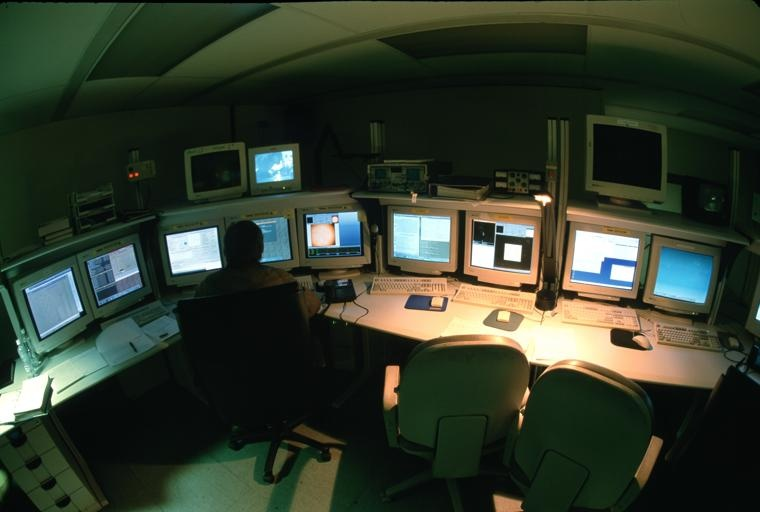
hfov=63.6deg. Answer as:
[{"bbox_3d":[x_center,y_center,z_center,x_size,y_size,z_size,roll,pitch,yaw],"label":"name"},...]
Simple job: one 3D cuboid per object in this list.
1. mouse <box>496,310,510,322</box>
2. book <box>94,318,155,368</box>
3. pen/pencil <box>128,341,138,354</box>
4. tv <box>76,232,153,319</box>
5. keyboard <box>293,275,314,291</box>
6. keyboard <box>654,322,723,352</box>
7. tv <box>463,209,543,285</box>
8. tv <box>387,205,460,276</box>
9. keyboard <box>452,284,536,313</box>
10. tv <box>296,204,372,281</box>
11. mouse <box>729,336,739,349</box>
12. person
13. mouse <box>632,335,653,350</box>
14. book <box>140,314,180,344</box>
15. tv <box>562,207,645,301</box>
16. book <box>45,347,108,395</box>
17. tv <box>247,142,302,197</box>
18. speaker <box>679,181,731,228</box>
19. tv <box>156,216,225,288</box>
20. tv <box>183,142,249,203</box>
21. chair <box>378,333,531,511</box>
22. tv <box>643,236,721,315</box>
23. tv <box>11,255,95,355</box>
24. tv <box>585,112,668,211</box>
[{"bbox_3d":[0.917,0.439,4.551,0.073,0.021,0.089,2,30,12],"label":"mouse"},{"bbox_3d":[-1.811,0.617,4.363,0.296,0.075,0.322,-21,52,-40],"label":"book"},{"bbox_3d":[-1.762,0.634,4.380,0.030,0.015,0.170,-19,44,-35],"label":"pen/pencil"},{"bbox_3d":[-2.004,0.148,4.587,0.327,0.571,0.523,3,22,36],"label":"tv"},{"bbox_3d":[-0.619,0.203,5.041,0.146,0.035,0.149,3,29,-3],"label":"keyboard"},{"bbox_3d":[2.149,0.561,4.313,0.423,0.120,0.216,2,14,13],"label":"keyboard"},{"bbox_3d":[0.974,-0.088,4.765,0.539,0.512,0.301,5,16,22],"label":"tv"},{"bbox_3d":[0.393,-0.159,5.119,0.610,0.541,0.332,5,12,25],"label":"tv"},{"bbox_3d":[0.910,0.321,4.750,0.514,0.066,0.193,8,35,25],"label":"keyboard"},{"bbox_3d":[-0.365,-0.159,5.342,0.881,0.811,0.468,-2,7,-2],"label":"tv"},{"bbox_3d":[2.429,0.592,4.226,0.070,0.047,0.117,6,15,27],"label":"mouse"},{"bbox_3d":[-0.814,0.068,4.336,0.886,0.720,0.468,5,28,36],"label":"person"},{"bbox_3d":[1.820,0.594,4.262,0.136,0.079,0.119,0,13,5],"label":"mouse"},{"bbox_3d":[-1.595,0.532,4.517,0.184,0.046,0.196,33,43,33],"label":"book"},{"bbox_3d":[1.649,-0.039,4.521,0.599,0.624,0.347,7,18,21],"label":"tv"},{"bbox_3d":[-2.084,0.782,4.219,0.343,0.163,0.260,-11,17,-37],"label":"book"},{"bbox_3d":[-0.828,-0.714,5.132,0.469,0.390,0.240,-4,-5,14],"label":"tv"},{"bbox_3d":[2.284,-0.374,4.316,0.327,0.290,0.120,16,13,38],"label":"speaker"},{"bbox_3d":[-1.551,-0.050,4.992,0.559,0.496,0.328,-13,17,-37],"label":"tv"},{"bbox_3d":[-1.263,-0.662,5.019,0.541,0.424,0.292,-5,-3,19],"label":"tv"},{"bbox_3d":[0.465,0.932,3.934,1.082,1.336,0.940,-1,41,0],"label":"chair"},{"bbox_3d":[2.252,0.125,4.523,0.446,0.612,0.373,17,33,36],"label":"tv"},{"bbox_3d":[-2.282,0.332,4.250,0.354,0.671,0.488,2,26,34],"label":"tv"},{"bbox_3d":[1.873,-0.767,4.510,0.579,0.636,0.371,16,40,36],"label":"tv"}]
